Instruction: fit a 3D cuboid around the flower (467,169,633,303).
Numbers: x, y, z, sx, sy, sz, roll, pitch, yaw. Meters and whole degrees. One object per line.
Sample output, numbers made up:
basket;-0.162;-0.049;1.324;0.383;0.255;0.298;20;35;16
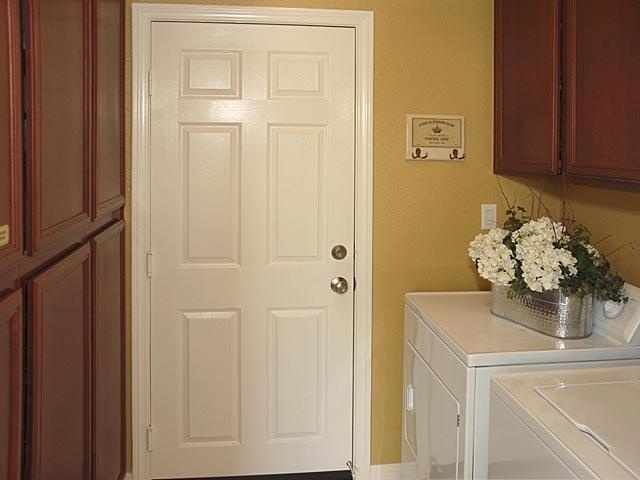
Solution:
flower;0.852;0.028;1.982;0.399;0.401;0.182;-32;-51;-18
